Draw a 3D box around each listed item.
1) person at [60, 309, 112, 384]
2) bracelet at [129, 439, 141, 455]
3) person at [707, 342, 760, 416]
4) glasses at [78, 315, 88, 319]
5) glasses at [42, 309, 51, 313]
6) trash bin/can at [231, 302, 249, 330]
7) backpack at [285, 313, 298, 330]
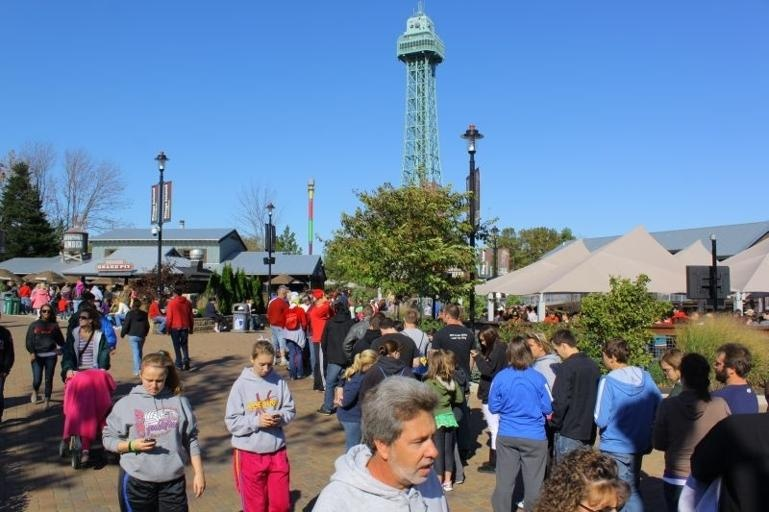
[{"bbox_3d":[-5.527,1.701,14.520,0.823,1.307,0.821,-2,21,-26],"label":"person"},{"bbox_3d":[-3.523,2.737,11.043,0.066,0.190,0.151,-24,19,-34],"label":"bracelet"},{"bbox_3d":[5.150,1.864,11.479,1.071,1.151,0.530,-12,17,-40],"label":"person"},{"bbox_3d":[-5.636,1.161,14.694,0.149,0.064,0.169,2,-8,4],"label":"glasses"},{"bbox_3d":[-7.156,1.185,16.617,0.170,0.101,0.104,-1,-2,27],"label":"glasses"},{"bbox_3d":[-5.906,2.594,32.430,0.593,1.118,0.741,1,-2,-5],"label":"trash bin/can"},{"bbox_3d":[-2.267,1.656,19.895,0.268,0.435,0.420,-1,-4,6],"label":"backpack"}]
